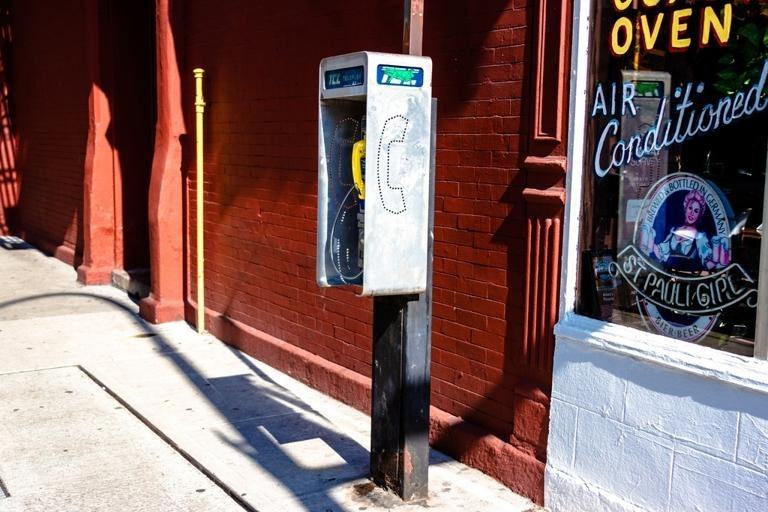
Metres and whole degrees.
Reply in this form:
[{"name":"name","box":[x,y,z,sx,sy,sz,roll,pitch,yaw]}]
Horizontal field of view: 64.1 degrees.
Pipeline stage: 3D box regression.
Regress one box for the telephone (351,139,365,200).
[{"name":"telephone","box":[-0.198,-0.665,4.807,0.087,0.464,0.234,1,10,-1]}]
